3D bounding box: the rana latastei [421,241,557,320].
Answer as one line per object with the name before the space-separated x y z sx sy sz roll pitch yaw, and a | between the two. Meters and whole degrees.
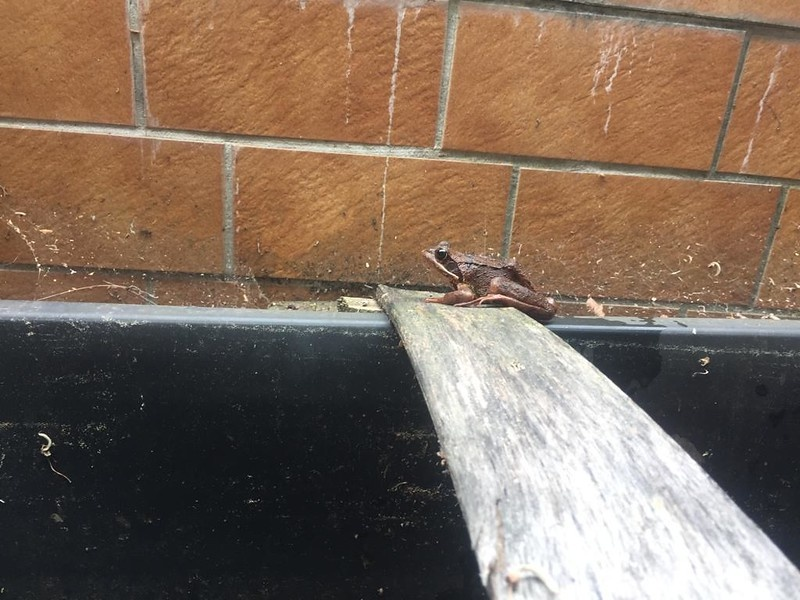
rana latastei | 0.364 -0.075 3.375 0.571 0.443 0.205 11 -77 15
